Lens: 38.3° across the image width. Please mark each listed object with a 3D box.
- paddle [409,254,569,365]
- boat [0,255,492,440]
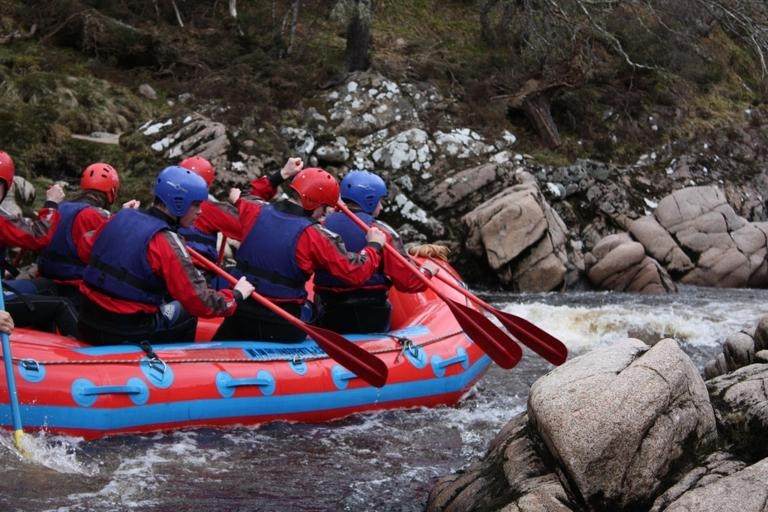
[{"bbox_3d":[2.124,1.101,21.911,2.981,0.453,0.286,41,20,14],"label":"paddle"},{"bbox_3d":[-2.905,1.970,19.425,6.232,1.441,3.363,-1,25,-17],"label":"boat"}]
